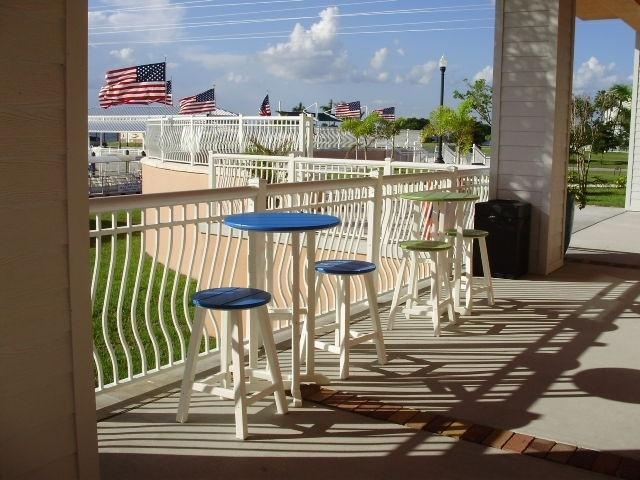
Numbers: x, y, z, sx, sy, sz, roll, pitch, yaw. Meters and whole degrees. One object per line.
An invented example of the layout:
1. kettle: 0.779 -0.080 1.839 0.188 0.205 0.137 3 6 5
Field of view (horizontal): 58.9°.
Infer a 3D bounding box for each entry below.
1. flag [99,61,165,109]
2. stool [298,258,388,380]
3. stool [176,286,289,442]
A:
1. flag: -8.045 -6.754 24.339 2.736 1.977 2.230 -3 12 -21
2. stool: 0.195 0.607 4.722 0.631 0.810 0.645 1 4 24
3. stool: -0.573 0.801 3.794 0.694 0.817 0.688 0 1 -43
